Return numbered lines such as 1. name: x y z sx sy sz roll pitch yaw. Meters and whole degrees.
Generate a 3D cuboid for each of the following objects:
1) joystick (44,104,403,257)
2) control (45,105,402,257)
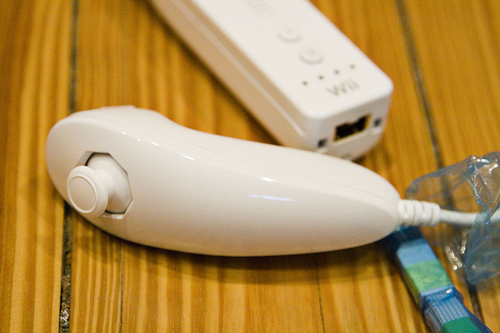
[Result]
1. joystick: -0.025 0.010 0.588 0.286 0.140 0.166 6 24 4
2. control: -0.023 -0.028 0.582 0.284 0.138 0.165 7 24 5
